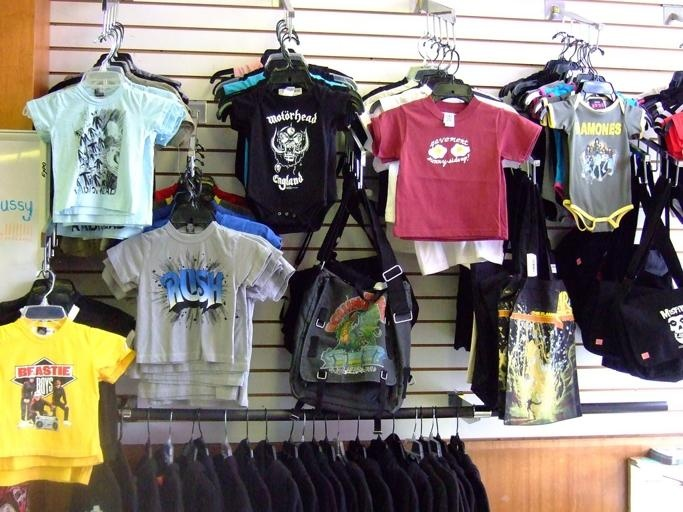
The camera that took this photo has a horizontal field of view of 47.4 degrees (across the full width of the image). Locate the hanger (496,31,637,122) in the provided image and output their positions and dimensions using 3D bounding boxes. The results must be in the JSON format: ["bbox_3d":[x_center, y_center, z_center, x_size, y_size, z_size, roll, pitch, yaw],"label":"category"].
[{"bbox_3d":[1.118,-0.912,3.987,0.577,0.560,0.400,0,-2,-9],"label":"hanger"}]

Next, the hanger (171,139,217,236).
[{"bbox_3d":[-0.700,-0.344,3.750,0.202,0.488,0.315,0,-2,-6],"label":"hanger"}]

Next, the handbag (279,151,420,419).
[{"bbox_3d":[0.036,0.131,3.803,0.643,1.275,0.374,0,-2,-6],"label":"handbag"}]

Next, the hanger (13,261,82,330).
[{"bbox_3d":[-1.325,0.196,3.546,0.262,0.271,0.282,1,-2,-20],"label":"hanger"}]

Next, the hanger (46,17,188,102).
[{"bbox_3d":[-1.116,-0.945,3.768,0.481,0.347,0.032,2,18,-6],"label":"hanger"}]

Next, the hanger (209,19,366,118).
[{"bbox_3d":[-0.300,-0.912,3.815,0.518,0.372,0.192,-1,4,-7],"label":"hanger"}]

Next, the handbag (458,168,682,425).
[{"bbox_3d":[1.093,0.162,3.817,1.126,1.163,0.459,-6,4,-3],"label":"handbag"}]
